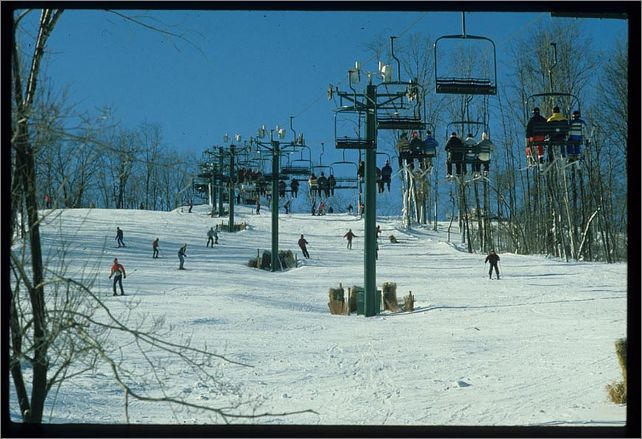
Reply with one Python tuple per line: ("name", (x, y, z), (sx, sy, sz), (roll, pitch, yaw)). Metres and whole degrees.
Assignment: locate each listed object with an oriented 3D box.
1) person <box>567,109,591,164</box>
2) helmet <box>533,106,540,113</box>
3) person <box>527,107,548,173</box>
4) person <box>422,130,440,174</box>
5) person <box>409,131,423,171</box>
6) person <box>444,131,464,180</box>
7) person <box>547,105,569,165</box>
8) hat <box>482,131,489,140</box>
("person", (7.122, -2.318, 26.143), (0.552, 1.461, 1.554), (2, 9, 14))
("helmet", (5.822, -2.983, 25.518), (0.179, 0.211, 0.149), (4, 0, 25))
("person", (5.997, -2.336, 26.224), (0.601, 1.630, 1.566), (2, 9, 12))
("person", (3.121, -2.082, 27.331), (0.425, 1.074, 0.494), (-8, 22, -16))
("person", (2.770, -2.056, 27.296), (0.383, 0.961, 0.942), (1, 8, 6))
("person", (3.751, -1.868, 26.580), (0.502, 1.278, 0.997), (1, 8, 8))
("person", (6.570, -2.424, 26.139), (0.572, 1.452, 1.582), (2, 9, 14))
("hat", (4.621, -2.374, 26.551), (0.165, 0.261, 0.119), (-1, 2, -16))
